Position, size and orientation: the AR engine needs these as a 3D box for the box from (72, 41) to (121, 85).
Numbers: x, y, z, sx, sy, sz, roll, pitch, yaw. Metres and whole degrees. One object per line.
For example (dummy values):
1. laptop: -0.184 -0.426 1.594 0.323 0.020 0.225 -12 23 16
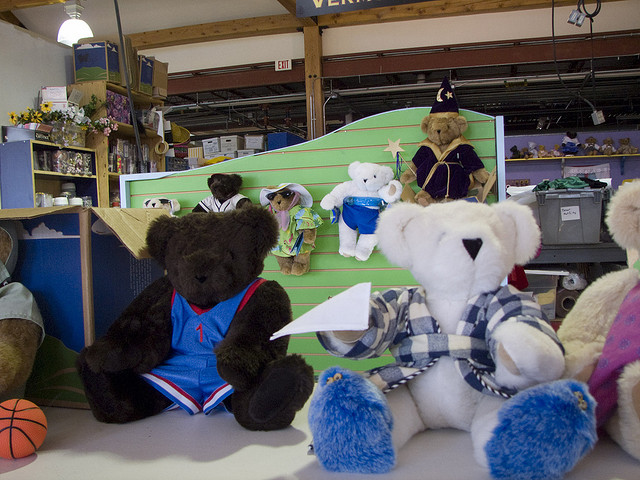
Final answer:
1. box: -2.109 -1.658 5.098 0.376 0.367 0.219 1 7 18

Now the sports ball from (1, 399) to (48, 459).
1. sports ball: -0.828 0.519 1.490 0.111 0.138 0.107 -1 6 0

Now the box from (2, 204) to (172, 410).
1. box: -0.799 0.254 2.076 0.590 0.706 0.728 2 1 15

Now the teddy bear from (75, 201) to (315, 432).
1. teddy bear: -0.380 0.240 1.702 0.688 0.657 0.390 2 8 4

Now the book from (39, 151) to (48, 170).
1. book: -2.288 -0.656 4.470 0.028 0.121 0.119 -3 10 7

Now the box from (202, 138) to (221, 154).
1. box: -1.581 -1.373 7.959 0.345 0.253 0.207 -4 -6 34

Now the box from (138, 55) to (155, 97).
1. box: -1.754 -1.693 5.586 0.133 0.372 0.386 -6 23 -38

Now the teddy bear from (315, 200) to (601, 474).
1. teddy bear: 0.349 0.273 1.555 0.770 0.795 0.660 -1 1 25

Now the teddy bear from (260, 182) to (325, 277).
1. teddy bear: -0.133 -0.063 2.650 0.382 0.525 0.265 -8 -14 26

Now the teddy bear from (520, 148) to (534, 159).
1. teddy bear: 3.092 -1.302 8.144 0.164 0.158 0.228 -1 23 9

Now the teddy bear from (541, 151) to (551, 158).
1. teddy bear: 3.363 -1.270 8.056 0.129 0.089 0.174 2 7 22

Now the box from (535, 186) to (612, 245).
1. box: 2.073 -0.048 4.391 0.534 0.501 0.709 -3 -29 29

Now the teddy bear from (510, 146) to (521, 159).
1. teddy bear: 2.960 -1.328 8.195 0.151 0.184 0.164 2 6 21

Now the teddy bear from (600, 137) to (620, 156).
1. teddy bear: 4.215 -1.379 7.884 0.211 0.286 0.111 5 -22 7

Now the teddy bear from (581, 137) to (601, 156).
1. teddy bear: 3.979 -1.366 7.954 0.270 0.143 0.350 5 44 17

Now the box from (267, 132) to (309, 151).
1. box: -0.450 -1.219 6.584 0.358 0.223 0.896 -1 6 -4

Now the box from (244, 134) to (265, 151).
1. box: -0.963 -1.428 7.966 0.316 0.325 0.239 2 14 -7

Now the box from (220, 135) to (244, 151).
1. box: -1.298 -1.420 7.945 0.263 0.165 0.268 -1 0 -5

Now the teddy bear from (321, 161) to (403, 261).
1. teddy bear: 0.198 -0.160 2.570 0.418 0.565 0.219 6 10 10

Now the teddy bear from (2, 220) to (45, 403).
1. teddy bear: -0.958 0.189 1.725 0.117 0.491 0.298 -4 7 -28

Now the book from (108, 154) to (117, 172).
1. book: -1.990 -0.733 5.162 0.044 0.169 0.127 1 6 11

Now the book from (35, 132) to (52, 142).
1. book: -2.276 -0.848 4.451 0.056 0.074 0.178 0 6 10

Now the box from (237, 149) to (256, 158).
1. box: -1.009 -1.197 7.377 0.255 0.111 0.767 -1 6 -7

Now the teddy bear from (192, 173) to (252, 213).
1. teddy bear: -0.523 -0.201 2.846 0.293 0.286 0.172 -3 -2 3

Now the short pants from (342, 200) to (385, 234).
1. short pants: 0.259 -0.134 2.989 0.243 0.149 0.315 -1 -3 24

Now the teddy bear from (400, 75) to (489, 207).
1. teddy bear: 0.636 -0.465 2.790 0.431 0.553 0.180 0 6 9

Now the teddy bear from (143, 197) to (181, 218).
1. teddy bear: -0.736 -0.153 2.489 0.130 0.092 0.073 -2 -15 2

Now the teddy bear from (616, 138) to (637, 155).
1. teddy bear: 4.433 -1.356 7.813 0.256 0.240 0.267 4 7 34

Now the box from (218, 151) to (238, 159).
1. box: -1.287 -1.204 7.557 0.253 0.095 0.649 -2 7 -10
